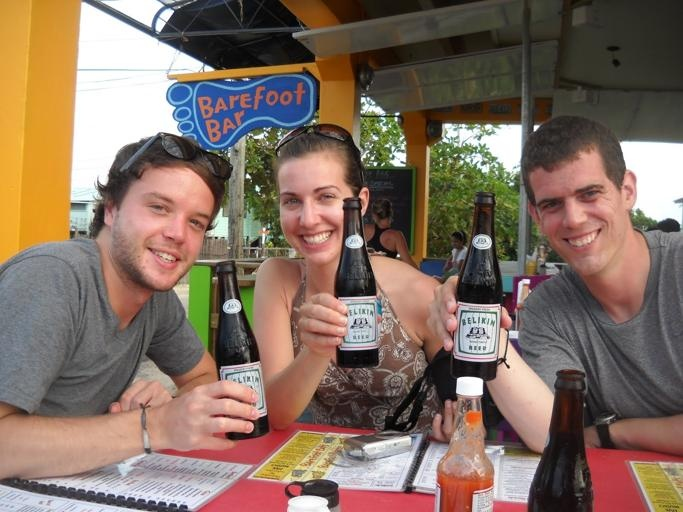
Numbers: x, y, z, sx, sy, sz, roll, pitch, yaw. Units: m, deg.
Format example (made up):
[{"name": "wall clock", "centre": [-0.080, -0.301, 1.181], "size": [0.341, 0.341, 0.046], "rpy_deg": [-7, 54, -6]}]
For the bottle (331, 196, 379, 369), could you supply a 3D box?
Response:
[{"name": "bottle", "centre": [0.053, 0.104, 1.847], "size": [0.160, 0.616, 0.397], "rpy_deg": [0, 4, 2]}]

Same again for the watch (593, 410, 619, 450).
[{"name": "watch", "centre": [1.015, 0.672, 1.991], "size": [0.089, 0.088, 0.059], "rpy_deg": [-10, 23, 1]}]

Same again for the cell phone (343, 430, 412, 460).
[{"name": "cell phone", "centre": [0.121, 0.636, 1.723], "size": [0.134, 0.036, 0.098], "rpy_deg": [-1, -2, -35]}]
